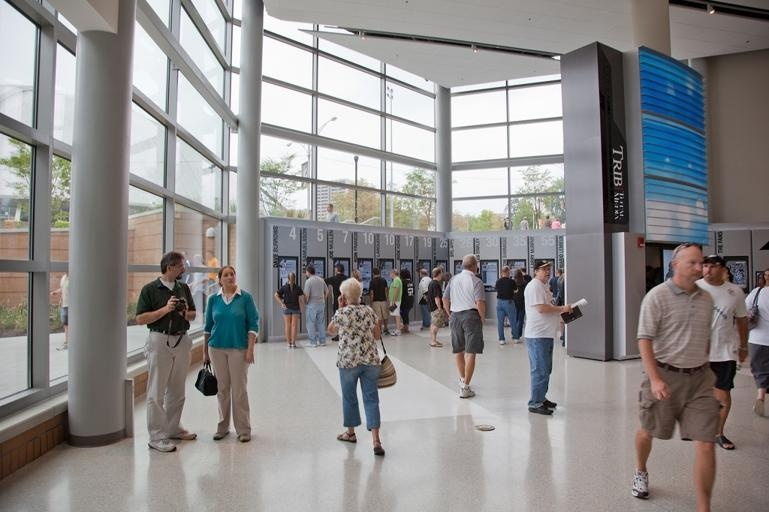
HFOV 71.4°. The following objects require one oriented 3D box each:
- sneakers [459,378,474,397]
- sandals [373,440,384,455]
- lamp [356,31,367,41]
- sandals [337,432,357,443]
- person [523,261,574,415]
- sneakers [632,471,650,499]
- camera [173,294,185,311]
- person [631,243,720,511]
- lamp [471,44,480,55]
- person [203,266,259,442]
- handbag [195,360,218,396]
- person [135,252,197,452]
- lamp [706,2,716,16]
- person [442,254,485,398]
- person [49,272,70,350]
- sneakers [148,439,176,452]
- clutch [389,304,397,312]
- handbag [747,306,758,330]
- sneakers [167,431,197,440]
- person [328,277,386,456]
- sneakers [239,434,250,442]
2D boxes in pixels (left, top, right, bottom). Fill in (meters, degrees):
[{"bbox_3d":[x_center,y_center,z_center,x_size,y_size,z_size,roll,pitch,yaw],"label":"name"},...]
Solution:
[{"bbox_3d":[1.317,2.090,8.360,0.127,0.230,0.364,2,1,33],"label":"sneakers"},{"bbox_3d":[-0.072,2.267,6.368,0.135,0.138,0.213,0,5,0],"label":"sandals"},{"bbox_3d":[-0.612,-5.954,14.559,0.231,0.100,0.266,1,5,14],"label":"lamp"},{"bbox_3d":[-0.461,2.251,6.673,0.211,0.081,0.116,1,-2,45],"label":"sandals"},{"bbox_3d":[2.237,1.151,7.572,0.467,2.093,0.449,-2,5,-16],"label":"person"},{"bbox_3d":[2.619,2.360,5.482,0.117,0.142,0.332,-1,-13,16],"label":"sneakers"},{"bbox_3d":[-2.538,0.612,6.622,0.151,0.142,0.144,0,-5,-32],"label":"camera"},{"bbox_3d":[2.904,1.193,5.330,0.750,2.590,0.642,3,6,32],"label":"person"},{"bbox_3d":[2.593,-5.877,15.387,0.098,0.146,0.281,1,34,-6],"label":"lamp"},{"bbox_3d":[-1.955,1.234,6.780,0.683,2.154,0.477,0,5,0],"label":"person"},{"bbox_3d":[-2.245,1.566,6.743,0.252,0.469,0.421,-3,6,-23],"label":"handbag"},{"bbox_3d":[-2.672,1.160,6.657,0.667,2.345,0.600,-5,7,-40],"label":"person"},{"bbox_3d":[7.784,-5.866,12.805,0.197,0.341,0.187,3,-5,4],"label":"lamp"},{"bbox_3d":[1.261,1.083,8.326,0.505,2.176,0.435,0,5,7],"label":"person"},{"bbox_3d":[-4.165,0.742,6.889,0.179,1.039,0.349,-4,6,-32],"label":"person"},{"bbox_3d":[-2.674,2.283,6.494,0.334,0.141,0.130,0,-4,7],"label":"sneakers"},{"bbox_3d":[0.230,1.420,14.282,0.201,0.228,0.110,0,5,0],"label":"clutch"},{"bbox_3d":[4.944,0.871,7.232,0.091,0.255,0.184,3,-6,9],"label":"handbag"},{"bbox_3d":[-2.596,2.283,6.844,0.349,0.144,0.123,1,-4,-7],"label":"sneakers"},{"bbox_3d":[-0.322,1.313,6.452,0.689,2.020,0.425,1,5,11],"label":"person"},{"bbox_3d":[-1.752,2.271,6.687,0.155,0.077,0.126,-2,5,-19],"label":"sneakers"}]
